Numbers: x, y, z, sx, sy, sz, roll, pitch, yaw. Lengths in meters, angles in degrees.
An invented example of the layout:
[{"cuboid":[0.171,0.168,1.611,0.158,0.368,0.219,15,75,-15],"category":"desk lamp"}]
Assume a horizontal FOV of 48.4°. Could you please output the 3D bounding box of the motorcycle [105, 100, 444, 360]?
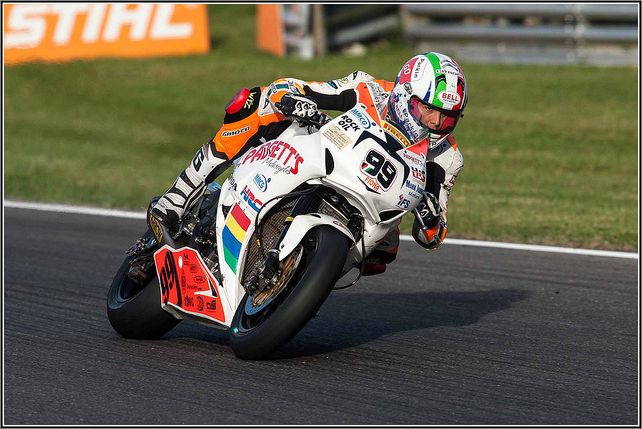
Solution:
[{"cuboid":[-0.271,0.095,5.280,1.965,1.714,1.081,6,23,11],"category":"motorcycle"}]
